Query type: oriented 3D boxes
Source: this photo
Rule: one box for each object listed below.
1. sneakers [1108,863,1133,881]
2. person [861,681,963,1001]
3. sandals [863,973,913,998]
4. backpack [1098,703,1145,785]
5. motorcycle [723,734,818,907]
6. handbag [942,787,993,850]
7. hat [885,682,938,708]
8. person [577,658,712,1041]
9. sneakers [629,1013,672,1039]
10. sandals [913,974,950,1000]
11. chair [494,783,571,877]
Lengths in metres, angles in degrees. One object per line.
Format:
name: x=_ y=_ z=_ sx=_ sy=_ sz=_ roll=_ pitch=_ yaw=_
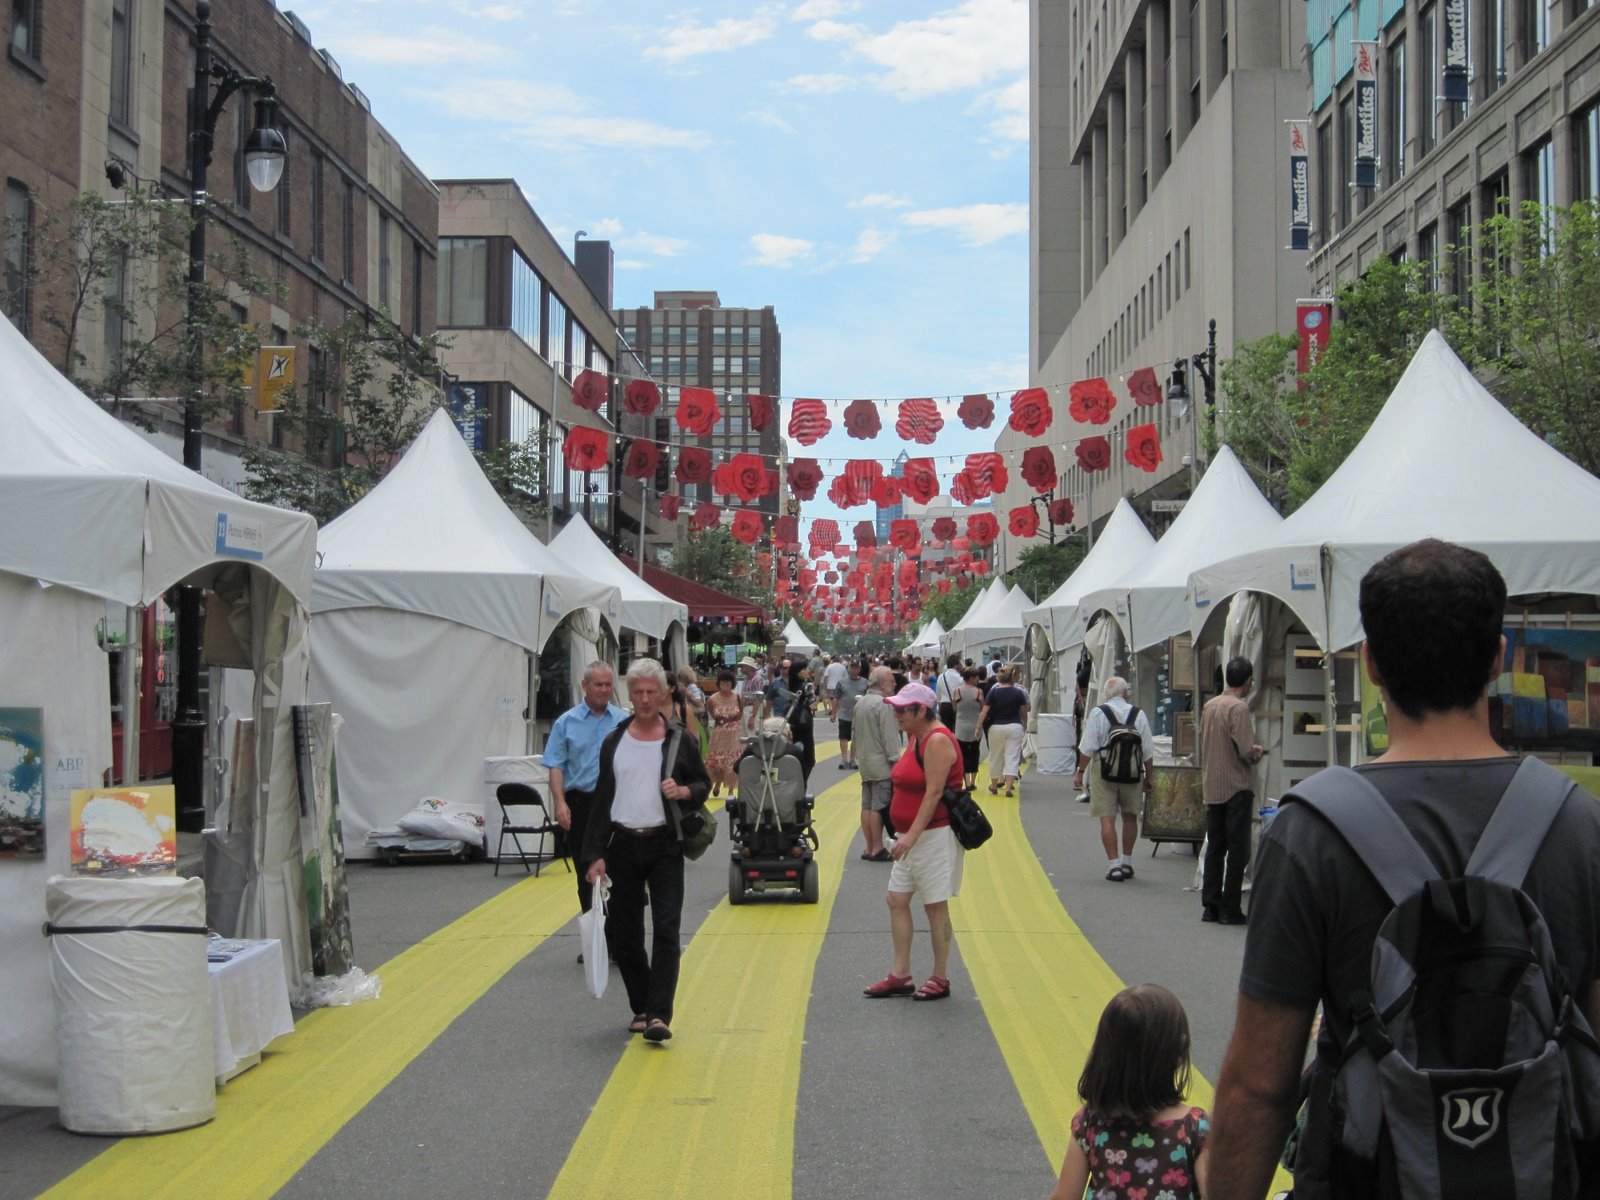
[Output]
sneakers: x=3.060 y=2.560 z=18.271 sx=0.256 sy=0.164 sz=0.475 roll=-3 pitch=-4 yaw=9
person: x=0.776 y=1.617 z=13.090 sx=0.644 sy=2.054 sz=1.138 roll=-2 pitch=-3 yaw=2
sandals: x=0.595 y=2.557 z=12.844 sx=0.343 sy=0.189 sz=0.136 roll=1 pitch=-3 yaw=-11
backpack: x=3.147 y=1.317 z=18.653 sx=0.403 sy=0.752 sz=0.722 roll=-1 pitch=11 yaw=6
motorcycle: x=-0.277 y=1.870 z=17.559 sx=0.753 sy=1.681 sz=1.857 roll=0 pitch=0 yaw=-2
handbag: x=1.112 y=1.435 z=12.828 sx=0.280 sy=0.397 sz=0.398 roll=-2 pitch=-4 yaw=6
hat: x=0.820 y=0.650 z=13.557 sx=0.174 sy=0.154 sz=0.277 roll=-5 pitch=-12 yaw=37
person: x=-0.948 y=1.502 z=11.788 sx=0.749 sy=2.329 sz=0.644 roll=-1 pitch=-3 yaw=-5
sneakers: x=-0.922 y=2.560 z=11.580 sx=0.109 sy=0.153 sz=0.315 roll=2 pitch=-6 yaw=-19
sandals: x=0.873 y=2.551 z=12.753 sx=0.239 sy=0.139 sz=0.341 roll=-2 pitch=-4 yaw=4
chair: x=-2.742 y=2.186 z=18.989 sx=0.461 sy=0.941 sz=0.625 roll=0 pitch=7 yaw=16
